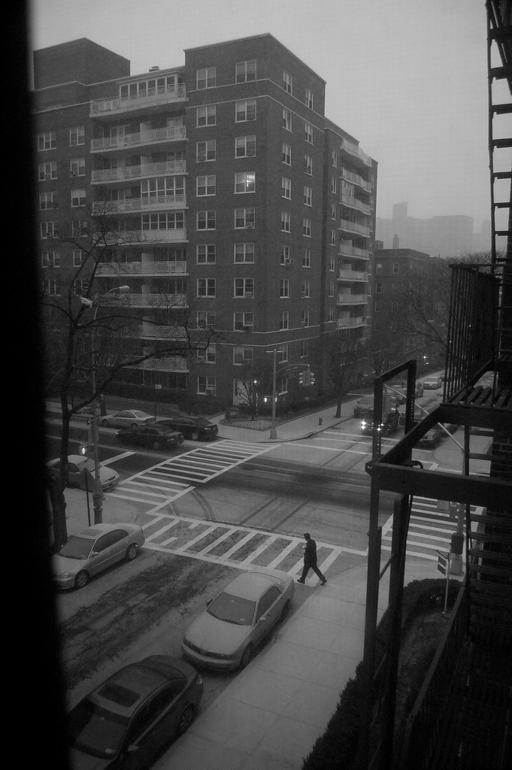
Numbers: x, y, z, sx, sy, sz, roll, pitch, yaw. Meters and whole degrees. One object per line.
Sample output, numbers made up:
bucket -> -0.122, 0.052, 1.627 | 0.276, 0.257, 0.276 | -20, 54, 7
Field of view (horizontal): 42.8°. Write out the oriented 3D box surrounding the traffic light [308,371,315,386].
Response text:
traffic light -> 3.242, -0.347, 38.125 | 0.278, 0.893, 0.733 | 1, 5, 23

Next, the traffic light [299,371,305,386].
traffic light -> 2.609, -0.332, 37.349 | 0.108, 0.814, 0.807 | 1, 5, 23

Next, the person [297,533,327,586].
person -> 1.124, 3.541, 13.400 | 0.485, 1.237, 0.406 | -3, 19, 4

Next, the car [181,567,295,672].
car -> -0.233, 3.903, 11.056 | 0.810, 0.912, 2.241 | 2, 10, 20

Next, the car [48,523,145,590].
car -> -3.691, 3.891, 15.125 | 0.744, 0.947, 2.132 | 3, 10, 23
